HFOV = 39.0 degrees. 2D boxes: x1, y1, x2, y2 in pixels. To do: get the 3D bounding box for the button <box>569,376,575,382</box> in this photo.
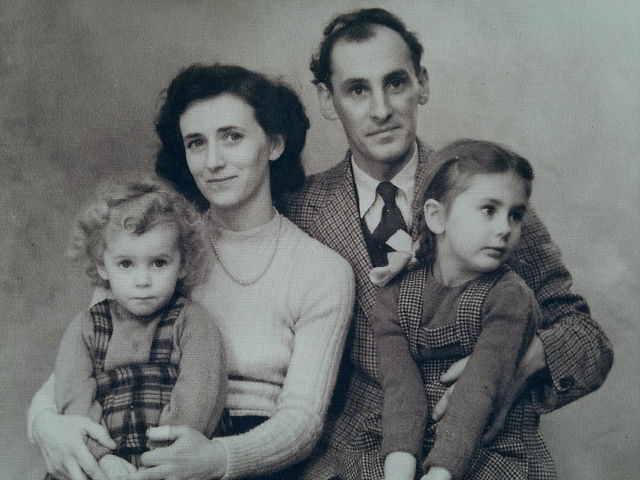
[{"bbox_3d":[1.098,0.607,3.935,0.028,0.031,0.004,-8,17,-24],"label":"button"}]
